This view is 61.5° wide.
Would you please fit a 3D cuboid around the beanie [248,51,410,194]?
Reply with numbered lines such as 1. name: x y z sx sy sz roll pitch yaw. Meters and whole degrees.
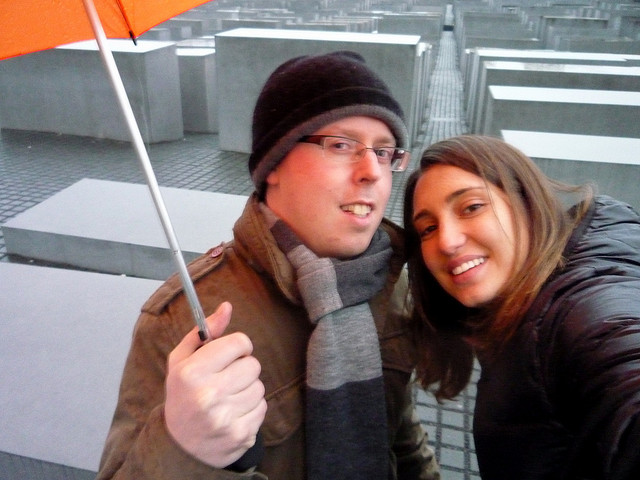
1. beanie: 0.018 -0.412 1.974 0.504 0.398 0.512 6 5 39

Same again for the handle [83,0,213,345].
1. handle: -0.409 -0.140 1.323 0.176 0.839 0.308 -11 22 -22
